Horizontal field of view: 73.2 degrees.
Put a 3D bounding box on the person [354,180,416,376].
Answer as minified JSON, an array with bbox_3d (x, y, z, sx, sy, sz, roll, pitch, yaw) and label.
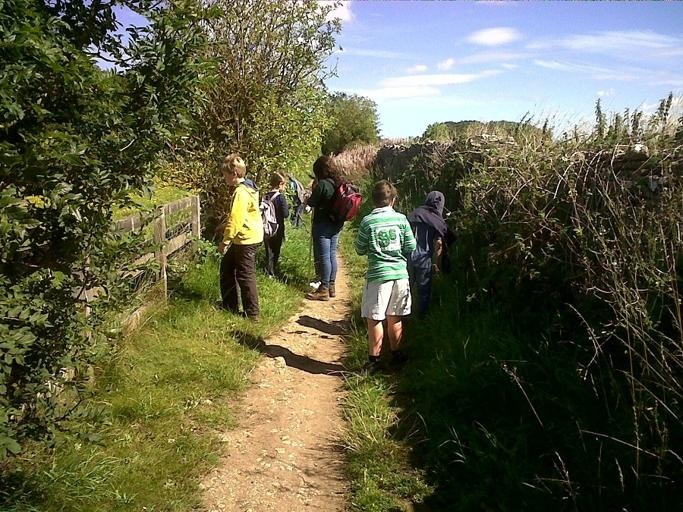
[{"bbox_3d":[0.541,0.245,5.607,0.684,2.292,0.755,6,11,17],"label":"person"}]

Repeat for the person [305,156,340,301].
[{"bbox_3d":[-0.305,-0.451,8.123,0.588,2.586,0.754,4,11,3],"label":"person"}]

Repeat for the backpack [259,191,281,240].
[{"bbox_3d":[-1.299,-0.739,8.196,0.367,0.819,0.449,-6,-5,44],"label":"backpack"}]

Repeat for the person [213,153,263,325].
[{"bbox_3d":[-1.450,-0.255,6.598,0.630,2.346,0.621,-2,12,-26],"label":"person"}]
